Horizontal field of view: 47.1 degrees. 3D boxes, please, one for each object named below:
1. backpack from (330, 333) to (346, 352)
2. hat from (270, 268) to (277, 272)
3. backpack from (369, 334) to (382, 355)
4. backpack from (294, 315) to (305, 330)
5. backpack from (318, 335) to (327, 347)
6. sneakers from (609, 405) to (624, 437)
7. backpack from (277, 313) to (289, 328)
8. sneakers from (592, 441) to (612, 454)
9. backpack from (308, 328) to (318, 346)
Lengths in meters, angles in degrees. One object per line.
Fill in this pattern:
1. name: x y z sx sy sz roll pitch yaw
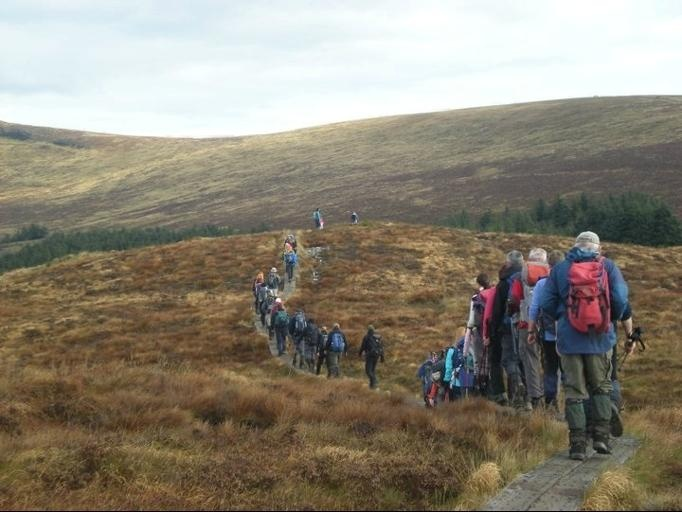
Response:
1. backpack: -0.125 2.627 23.960 0.501 0.672 0.320 -3 3 -7
2. hat: -3.194 0.652 37.382 0.388 0.184 0.546 0 1 -3
3. backpack: 1.023 2.632 23.115 0.476 0.644 0.355 6 -17 -30
4. backpack: -1.354 2.182 25.576 0.403 0.561 0.301 2 -16 -10
5. backpack: -0.544 2.652 24.308 0.247 0.408 0.705 -2 4 -2
6. sneakers: 5.003 2.958 14.037 0.205 0.631 0.272 -6 -3 -5
7. backpack: -1.977 2.157 26.633 0.419 0.575 0.342 -3 3 -7
8. sneakers: 4.628 3.351 13.758 0.280 0.291 0.212 -1 4 18
9. backpack: -0.923 2.564 25.174 0.426 0.597 0.224 -3 3 -9
